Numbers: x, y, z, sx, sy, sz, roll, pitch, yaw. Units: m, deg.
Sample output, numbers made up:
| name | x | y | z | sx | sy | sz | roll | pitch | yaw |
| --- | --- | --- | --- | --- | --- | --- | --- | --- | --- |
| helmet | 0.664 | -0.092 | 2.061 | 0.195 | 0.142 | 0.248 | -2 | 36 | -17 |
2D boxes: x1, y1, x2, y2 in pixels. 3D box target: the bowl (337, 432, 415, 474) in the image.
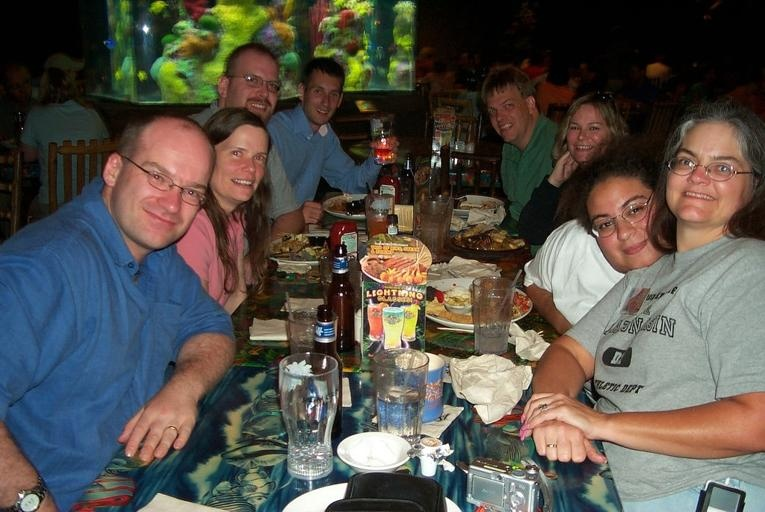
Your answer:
| name | x | y | z | sx | sy | sz | roll | pitch | yaw |
| --- | --- | --- | --- | --- | --- | --- | --- | --- | --- |
| bowl | -0.025 | 0.585 | 1.732 | 0.165 | 0.085 | 0.189 | -6 | 12 | -44 |

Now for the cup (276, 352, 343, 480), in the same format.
| name | x | y | z | sx | sy | sz | roll | pitch | yaw |
| --- | --- | --- | --- | --- | --- | --- | --- | --- | --- |
| cup | -0.218 | 0.474 | 1.744 | 0.175 | 0.343 | 0.150 | 1 | 10 | -6 |

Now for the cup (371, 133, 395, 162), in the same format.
| name | x | y | z | sx | sy | sz | roll | pitch | yaw |
| --- | --- | --- | --- | --- | --- | --- | --- | --- | --- |
| cup | 0.024 | -0.729 | 3.949 | 0.200 | 0.159 | 0.176 | -10 | 25 | -21 |

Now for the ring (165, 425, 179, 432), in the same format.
| name | x | y | z | sx | sy | sz | roll | pitch | yaw |
| --- | --- | --- | --- | --- | --- | --- | --- | --- | --- |
| ring | -0.651 | 0.539 | 1.831 | 0.021 | 0.006 | 0.021 | 34 | 1 | 0 |

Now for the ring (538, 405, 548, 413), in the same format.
| name | x | y | z | sx | sy | sz | roll | pitch | yaw |
| --- | --- | --- | --- | --- | --- | --- | --- | --- | --- |
| ring | 0.526 | 0.501 | 1.914 | 0.025 | 0.007 | 0.024 | -16 | 29 | 9 |

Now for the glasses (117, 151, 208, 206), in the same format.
| name | x | y | z | sx | sy | sz | roll | pitch | yaw |
| --- | --- | --- | --- | --- | --- | --- | --- | --- | --- |
| glasses | -0.757 | -0.301 | 2.110 | 0.200 | 0.059 | 0.196 | 27 | -5 | 39 |
